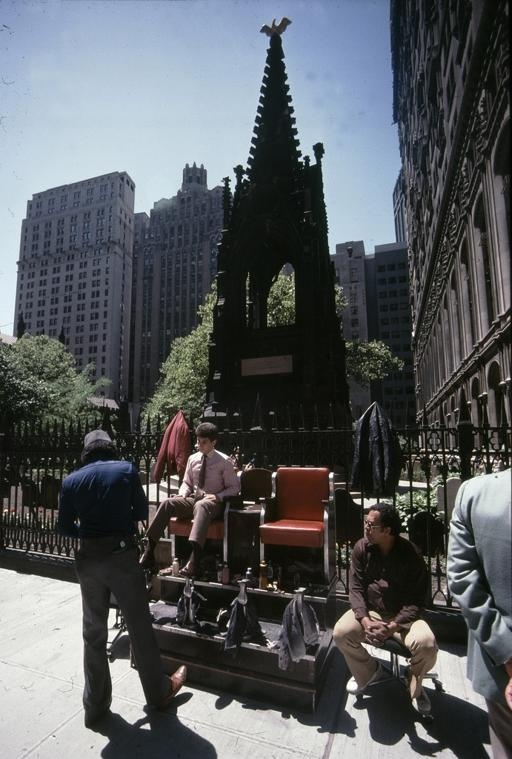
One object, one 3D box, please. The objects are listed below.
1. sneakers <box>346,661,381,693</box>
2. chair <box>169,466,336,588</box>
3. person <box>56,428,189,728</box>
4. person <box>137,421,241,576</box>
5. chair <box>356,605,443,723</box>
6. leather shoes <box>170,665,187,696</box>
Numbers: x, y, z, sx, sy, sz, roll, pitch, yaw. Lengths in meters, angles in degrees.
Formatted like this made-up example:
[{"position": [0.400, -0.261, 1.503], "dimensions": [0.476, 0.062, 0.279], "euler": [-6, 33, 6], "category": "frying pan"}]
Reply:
[{"position": [0.908, 2.527, 4.613], "dimensions": [0.329, 0.146, 0.190], "euler": [-35, -5, -8], "category": "sneakers"}, {"position": [0.245, 1.503, 5.611], "dimensions": [1.063, 1.124, 0.867], "euler": [0, -1, 12], "category": "chair"}, {"position": [-1.079, 1.628, 4.267], "dimensions": [0.857, 1.932, 0.416], "euler": [0, -1, -22], "category": "person"}, {"position": [-0.746, 1.343, 6.211], "dimensions": [0.775, 2.022, 1.282], "euler": [-16, -36, 26], "category": "person"}, {"position": [1.226, 2.283, 4.388], "dimensions": [0.682, 0.687, 0.449], "euler": [0, -1, -19], "category": "chair"}, {"position": [-0.641, 2.485, 4.546], "dimensions": [0.076, 0.126, 0.270], "euler": [5, 24, 3], "category": "leather shoes"}]
